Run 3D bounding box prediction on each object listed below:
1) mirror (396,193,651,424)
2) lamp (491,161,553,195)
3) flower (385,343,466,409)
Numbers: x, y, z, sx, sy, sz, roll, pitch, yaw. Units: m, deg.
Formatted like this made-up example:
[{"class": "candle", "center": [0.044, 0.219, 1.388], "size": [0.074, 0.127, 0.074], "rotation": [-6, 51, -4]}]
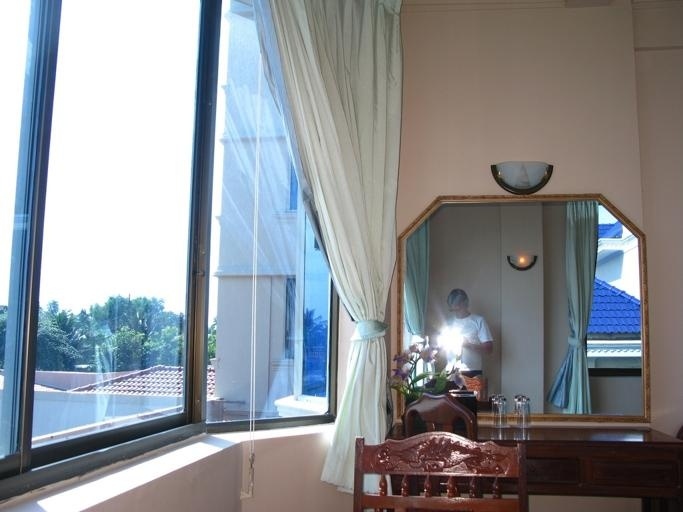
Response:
[{"class": "mirror", "center": [1.088, 0.375, 3.406], "size": [1.459, 1.533, 0.045], "rotation": [-2, 4, 6]}, {"class": "lamp", "center": [1.126, -0.474, 3.448], "size": [0.334, 0.226, 0.096], "rotation": [0, 12, 17]}, {"class": "flower", "center": [0.427, 0.735, 3.254], "size": [0.297, 0.320, 0.287], "rotation": [9, 10, 19]}]
